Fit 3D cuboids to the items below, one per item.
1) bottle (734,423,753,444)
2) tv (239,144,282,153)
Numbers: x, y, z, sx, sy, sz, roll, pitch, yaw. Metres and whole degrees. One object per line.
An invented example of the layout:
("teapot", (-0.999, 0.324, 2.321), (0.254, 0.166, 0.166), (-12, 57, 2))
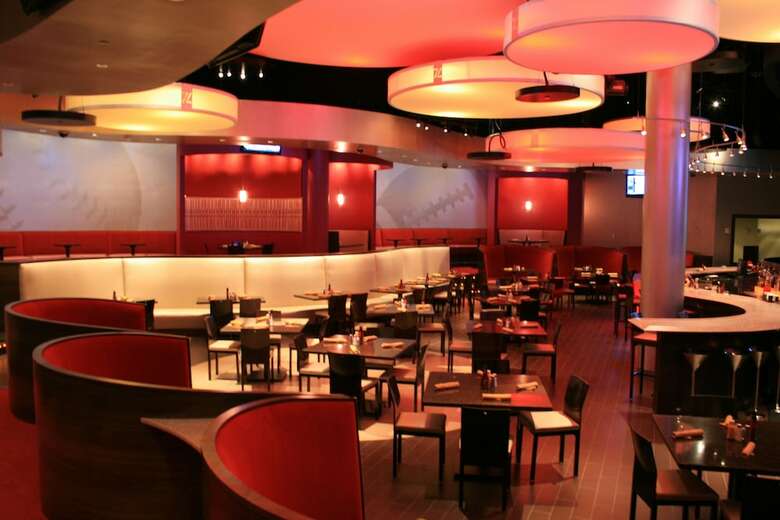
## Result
("bottle", (3.581, 1.761, 6.700), (0.175, 0.191, 0.154), (3, -2, -42))
("tv", (-3.118, -2.671, 16.056), (0.964, 0.232, 0.173), (-2, 15, -14))
